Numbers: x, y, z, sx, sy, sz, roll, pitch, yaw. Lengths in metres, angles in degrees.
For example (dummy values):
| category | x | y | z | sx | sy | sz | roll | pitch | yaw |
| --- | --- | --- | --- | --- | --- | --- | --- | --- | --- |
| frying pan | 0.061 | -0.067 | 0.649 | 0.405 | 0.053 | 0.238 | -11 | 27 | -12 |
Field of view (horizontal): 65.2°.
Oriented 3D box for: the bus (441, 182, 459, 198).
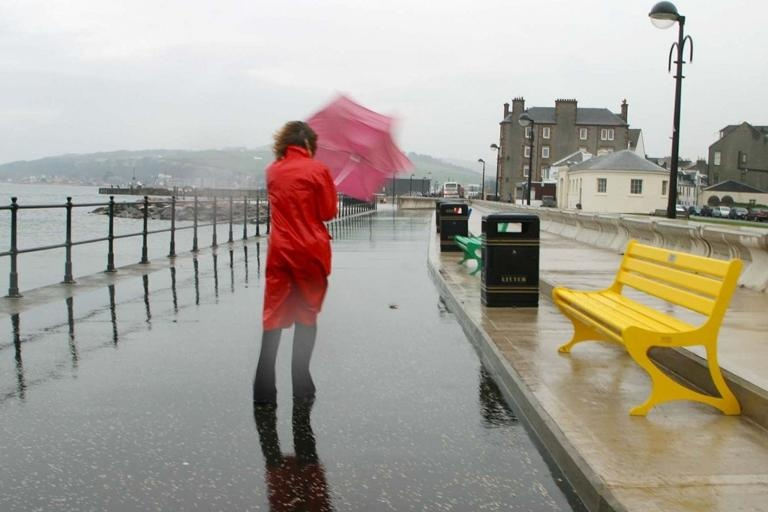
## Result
| category | x | y | z | sx | sy | sz | roll | pitch | yaw |
| --- | --- | --- | --- | --- | --- | --- | --- | --- | --- |
| bus | 16.339 | -15.884 | 144.059 | 4.599 | 3.979 | 7.699 | 0 | 0 | 1 |

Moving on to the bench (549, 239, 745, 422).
| category | x | y | z | sx | sy | sz | roll | pitch | yaw |
| --- | --- | --- | --- | --- | --- | --- | --- | --- | --- |
| bench | 2.952 | 0.849 | 6.660 | 0.869 | 0.954 | 1.769 | 5 | 3 | -3 |

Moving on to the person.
| category | x | y | z | sx | sy | sz | roll | pitch | yaw |
| --- | --- | --- | --- | --- | --- | --- | --- | --- | --- |
| person | -0.866 | 0.076 | 5.769 | 0.851 | 2.700 | 0.518 | -1 | 10 | -12 |
